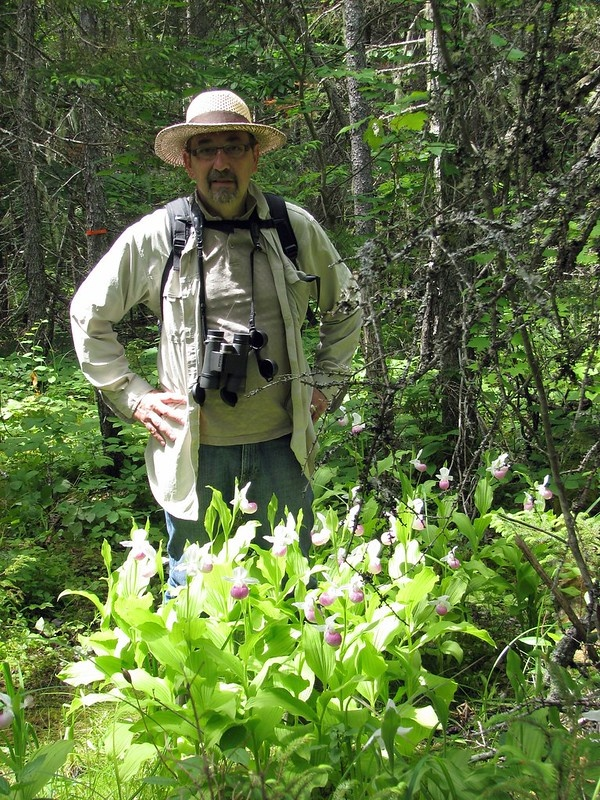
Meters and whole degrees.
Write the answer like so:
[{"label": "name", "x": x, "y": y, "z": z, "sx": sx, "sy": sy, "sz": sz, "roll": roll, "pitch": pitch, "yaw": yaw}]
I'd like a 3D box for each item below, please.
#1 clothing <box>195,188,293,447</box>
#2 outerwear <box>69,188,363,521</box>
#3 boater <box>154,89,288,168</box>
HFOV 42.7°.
[{"label": "clothing", "x": -0.266, "y": -0.318, "z": 3.216, "sx": 0.416, "sy": 1.017, "sz": 0.296, "roll": -9, "pitch": 14, "yaw": -27}, {"label": "outerwear", "x": -0.503, "y": -0.180, "z": 3.762, "sx": 1.567, "sy": 1.313, "sz": 0.485, "roll": 0, "pitch": 0, "yaw": -4}, {"label": "boater", "x": -0.346, "y": -1.199, "z": 3.363, "sx": 0.567, "sy": 0.192, "sz": 0.533, "roll": -7, "pitch": 2, "yaw": -24}]
